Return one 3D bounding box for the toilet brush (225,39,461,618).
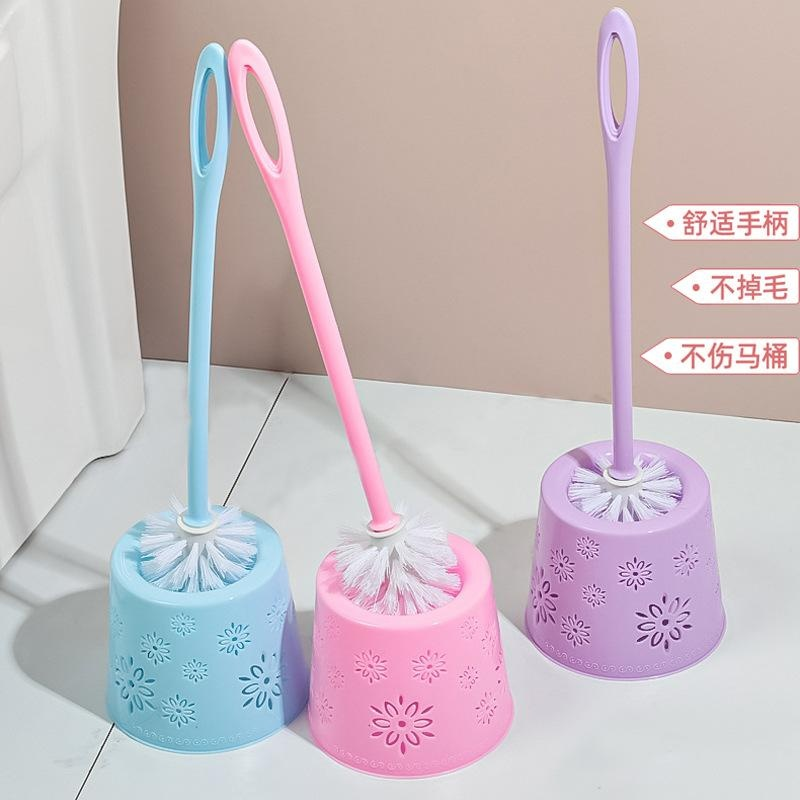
[{"bbox_3d":[-0.027,-0.038,0.492,0.142,0.312,0.109,5,21,10],"label":"toilet brush"}]

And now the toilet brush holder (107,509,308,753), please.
[{"bbox_3d":[-0.132,0.131,0.576,0.129,0.133,0.154,-3,41,-19],"label":"toilet brush holder"}]

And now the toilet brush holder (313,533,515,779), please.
[{"bbox_3d":[0.005,0.145,0.572,0.144,0.137,0.166,0,13,21],"label":"toilet brush holder"}]
